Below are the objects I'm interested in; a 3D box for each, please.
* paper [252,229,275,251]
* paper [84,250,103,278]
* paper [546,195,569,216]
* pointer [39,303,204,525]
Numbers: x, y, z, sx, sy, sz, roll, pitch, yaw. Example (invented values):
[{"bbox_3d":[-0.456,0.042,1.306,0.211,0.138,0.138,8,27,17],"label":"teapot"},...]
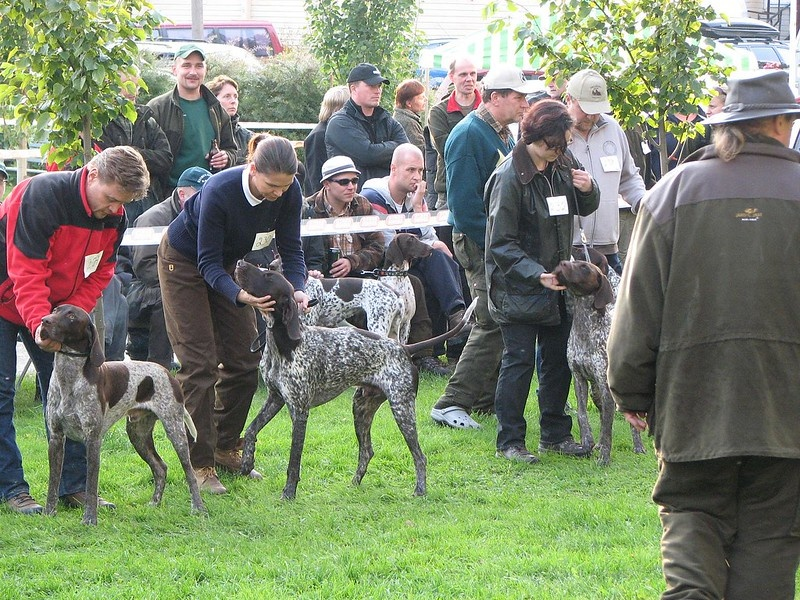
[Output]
[{"bbox_3d":[-1.000,-0.431,7.084,0.021,0.142,0.220,30,54,26],"label":"paper"},{"bbox_3d":[-2.054,-0.244,6.529,0.017,0.163,0.165,31,33,20],"label":"paper"},{"bbox_3d":[1.178,-0.709,7.401,0.172,0.171,0.023,-2,-2,-16],"label":"paper"},{"bbox_3d":[-1.923,0.812,6.633,0.562,1.286,1.508,-4,-10,27],"label":"pointer"}]
